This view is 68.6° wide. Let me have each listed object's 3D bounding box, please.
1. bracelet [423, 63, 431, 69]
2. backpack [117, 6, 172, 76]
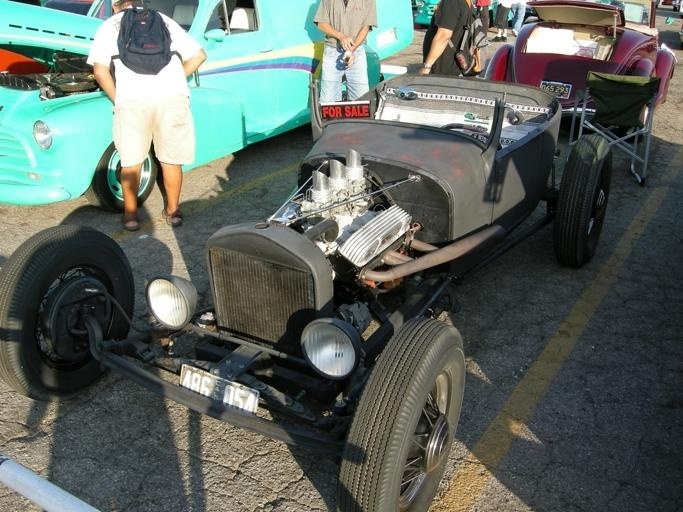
[{"bbox_3d":[1.164,-2.519,6.693,0.096,0.053,0.104,8,15,29],"label":"bracelet"},{"bbox_3d":[-1.957,-2.106,4.935,0.565,0.613,0.263,-2,4,-24],"label":"backpack"}]
